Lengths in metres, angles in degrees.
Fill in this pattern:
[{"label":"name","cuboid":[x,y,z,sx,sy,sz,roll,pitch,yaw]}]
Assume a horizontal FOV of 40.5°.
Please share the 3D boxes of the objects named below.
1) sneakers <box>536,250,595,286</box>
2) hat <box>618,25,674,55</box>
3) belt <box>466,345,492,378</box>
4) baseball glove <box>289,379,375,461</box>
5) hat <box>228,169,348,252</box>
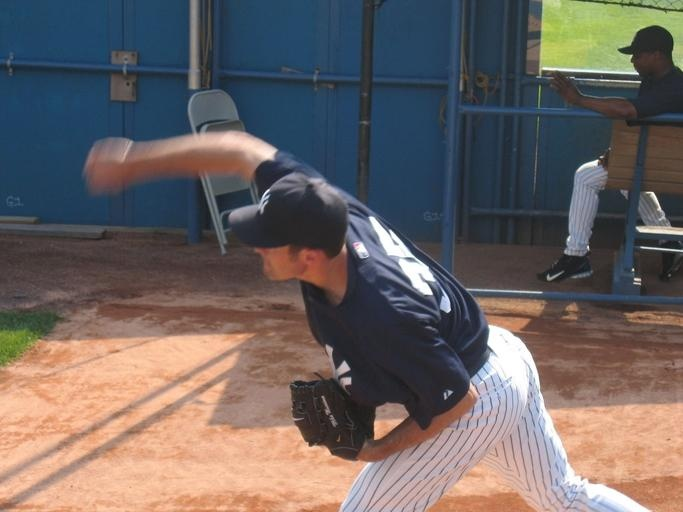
[{"label":"sneakers","cuboid":[2.192,0.112,9.133,0.579,0.285,0.221,-8,11,24]},{"label":"hat","cuboid":[2.853,-2.003,8.622,0.387,0.219,0.286,10,21,12]},{"label":"belt","cuboid":[0.725,0.552,4.846,0.034,0.140,0.140,41,15,-1]},{"label":"baseball glove","cuboid":[-0.023,0.929,5.048,0.400,0.272,0.579,-20,-42,33]},{"label":"hat","cuboid":[-0.247,-0.250,4.768,0.627,0.392,0.459,9,19,-11]}]
